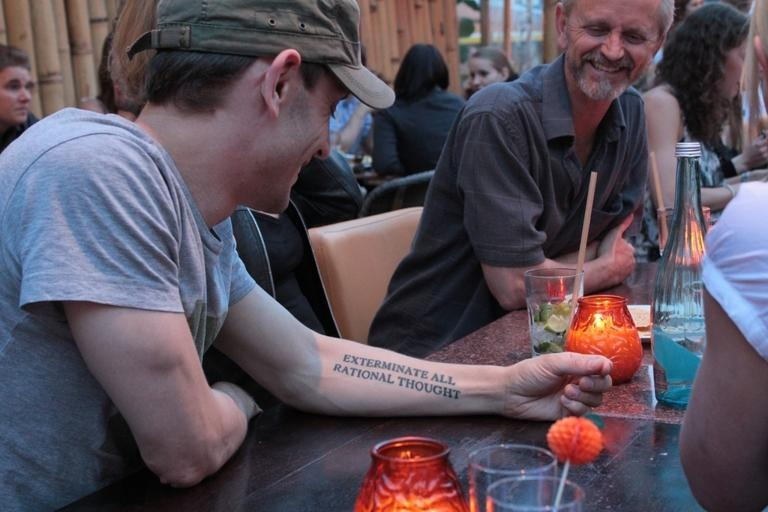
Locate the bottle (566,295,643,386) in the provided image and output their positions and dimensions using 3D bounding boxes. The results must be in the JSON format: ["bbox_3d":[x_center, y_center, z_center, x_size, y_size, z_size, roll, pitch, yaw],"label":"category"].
[{"bbox_3d":[0.439,0.166,1.375,0.149,0.171,0.165,-1,8,29],"label":"bottle"}]

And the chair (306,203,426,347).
[{"bbox_3d":[-0.056,-0.026,2.316,0.354,0.551,0.364,-18,27,-35],"label":"chair"}]

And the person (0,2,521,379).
[{"bbox_3d":[-0.494,-0.309,2.305,1.106,1.409,0.951,13,18,40],"label":"person"}]

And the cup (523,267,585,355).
[{"bbox_3d":[0.363,0.121,1.456,0.117,0.200,0.118,1,11,0],"label":"cup"}]
